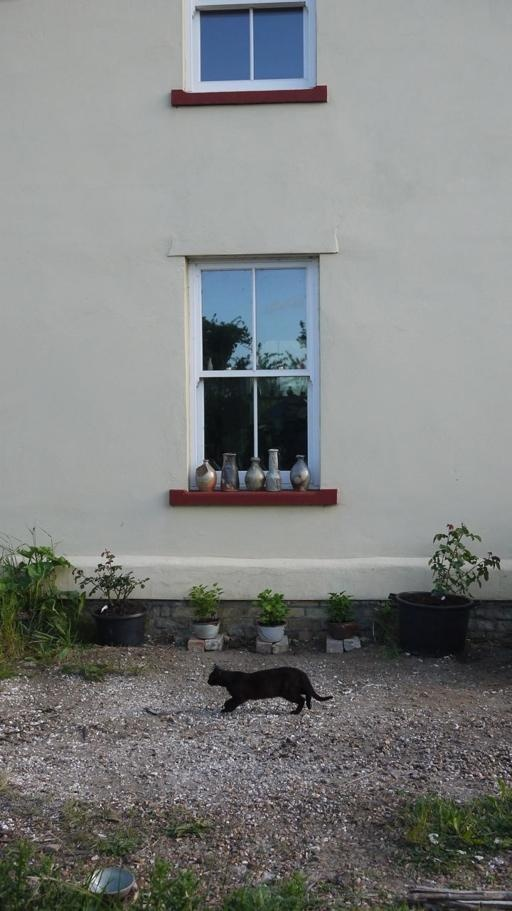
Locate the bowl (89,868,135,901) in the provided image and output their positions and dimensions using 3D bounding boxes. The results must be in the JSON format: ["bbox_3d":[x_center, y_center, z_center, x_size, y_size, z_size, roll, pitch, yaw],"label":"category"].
[{"bbox_3d":[-0.456,1.365,3.247,0.092,0.042,0.100,3,1,0],"label":"bowl"}]
